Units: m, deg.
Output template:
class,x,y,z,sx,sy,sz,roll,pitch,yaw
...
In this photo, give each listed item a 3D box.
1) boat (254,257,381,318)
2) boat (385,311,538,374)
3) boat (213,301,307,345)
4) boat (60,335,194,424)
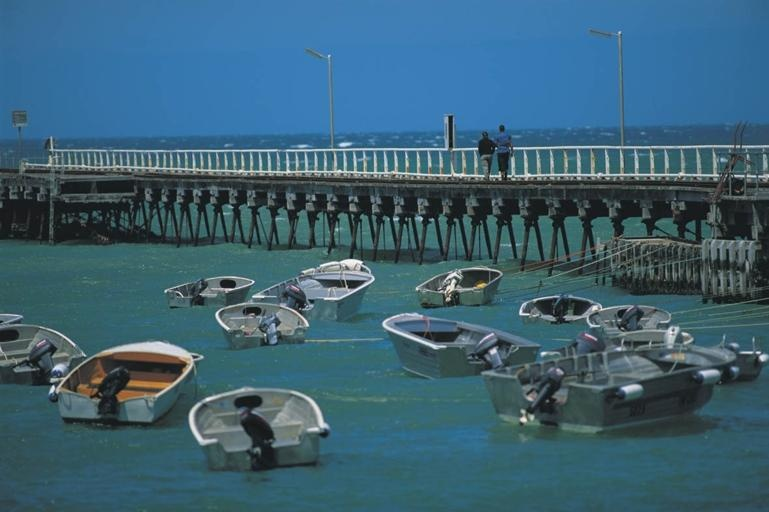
class,x,y,z,sx,sy,sz,roll,pitch,yaw
boat,-2.014,1.184,50.636,3.337,2.648,7.695,3,-6,-28
boat,2.083,3.213,42.413,2.390,1.112,3.568,-4,9,-37
boat,-4.410,2.633,46.002,2.507,1.631,4.226,3,1,1
boat,-7.878,3.999,40.524,3.362,1.510,4.889,4,12,3
